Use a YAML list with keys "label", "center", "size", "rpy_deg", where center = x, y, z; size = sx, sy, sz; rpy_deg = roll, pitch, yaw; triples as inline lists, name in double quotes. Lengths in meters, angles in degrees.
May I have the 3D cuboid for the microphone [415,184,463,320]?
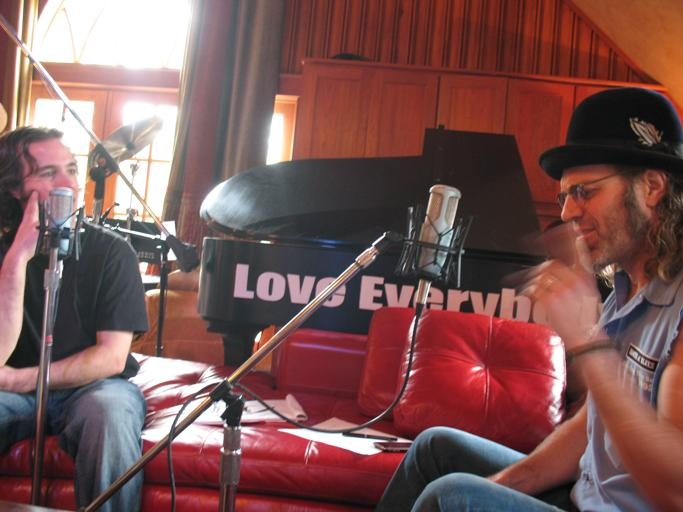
- label: "microphone"
  center: [0.275, -0.027, 1.897]
  size: [0.101, 0.361, 0.106]
  rpy_deg: [7, 1, 5]
